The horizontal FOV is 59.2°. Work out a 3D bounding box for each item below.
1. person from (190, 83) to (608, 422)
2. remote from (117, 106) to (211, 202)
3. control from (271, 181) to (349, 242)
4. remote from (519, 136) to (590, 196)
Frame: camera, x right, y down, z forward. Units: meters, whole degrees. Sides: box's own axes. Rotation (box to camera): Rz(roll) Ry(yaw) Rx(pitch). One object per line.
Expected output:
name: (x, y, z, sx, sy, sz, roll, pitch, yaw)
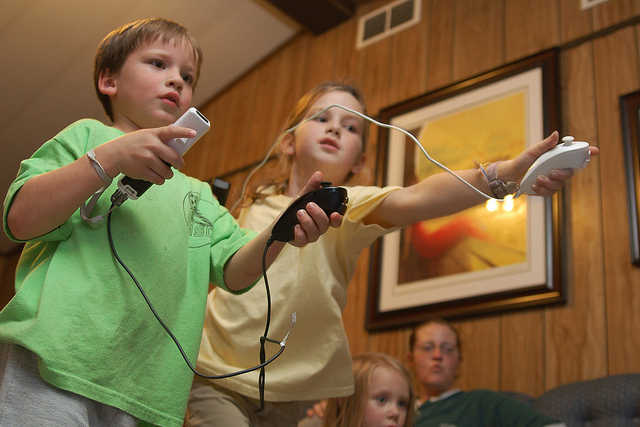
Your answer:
person: (0.359, 0.175, 1.995, 0.341, 1.105, 1.069, 38, -10, -34)
remote: (-0.358, -0.140, 1.333, 0.225, 0.223, 0.125, -1, -14, 20)
control: (-0.029, 0.001, 1.373, 0.184, 0.124, 0.075, -4, -15, 28)
remote: (0.572, -0.132, 1.379, 0.157, 0.162, 0.093, 6, -13, -7)
